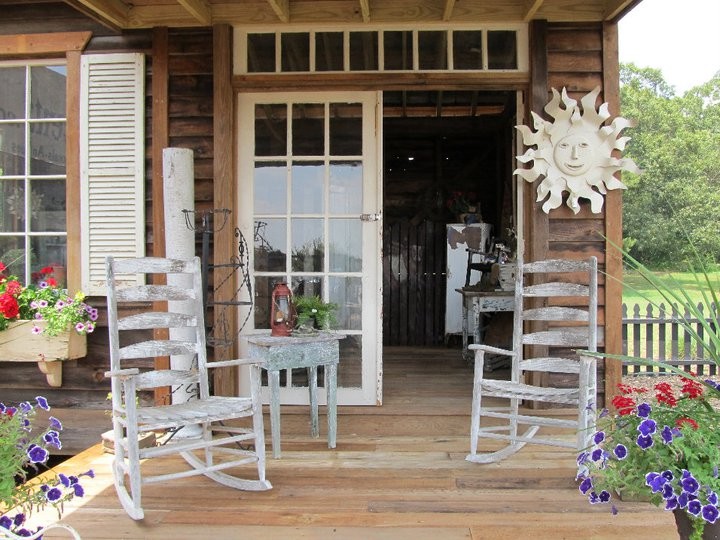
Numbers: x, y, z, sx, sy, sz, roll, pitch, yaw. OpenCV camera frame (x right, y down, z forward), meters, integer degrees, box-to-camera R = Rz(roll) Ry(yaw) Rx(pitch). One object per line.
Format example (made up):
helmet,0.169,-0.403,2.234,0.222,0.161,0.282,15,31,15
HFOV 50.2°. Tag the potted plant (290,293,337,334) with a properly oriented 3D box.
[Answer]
potted plant,-0.377,0.357,6.269,0.322,0.211,0.275,-1,-3,43

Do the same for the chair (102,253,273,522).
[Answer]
chair,-1.266,0.746,5.472,1.004,1.652,1.503,0,-2,-16
